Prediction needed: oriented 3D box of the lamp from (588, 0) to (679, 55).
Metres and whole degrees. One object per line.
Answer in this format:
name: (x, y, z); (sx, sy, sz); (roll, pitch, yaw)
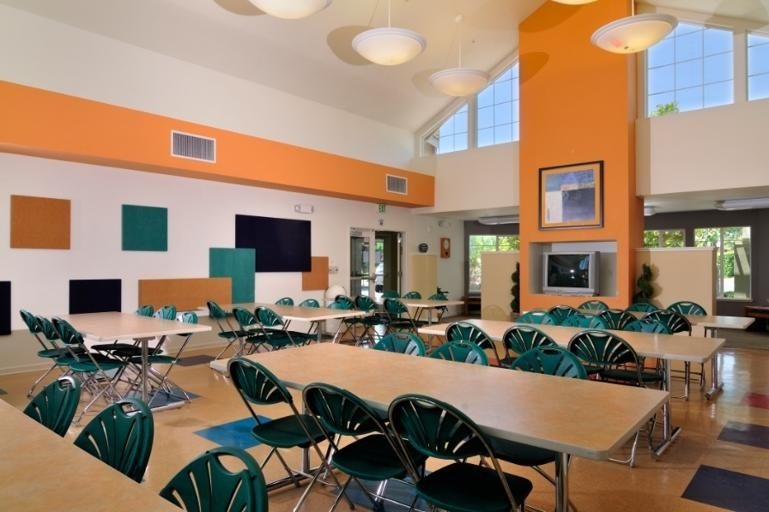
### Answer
lamp: (3.298, -2.919, 6.738); (0.775, 0.176, 0.744); (-4, -6, 0)

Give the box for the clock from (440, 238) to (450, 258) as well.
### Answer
clock: (1.753, -0.240, 15.038); (0.059, 0.569, 0.592); (-2, -3, 36)

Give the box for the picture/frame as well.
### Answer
picture/frame: (3.669, -1.169, 10.063); (1.192, 1.202, 0.253); (-2, -3, 24)

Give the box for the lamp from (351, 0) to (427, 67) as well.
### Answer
lamp: (0.061, -2.890, 6.763); (0.734, 0.837, 0.738); (-2, -5, 25)

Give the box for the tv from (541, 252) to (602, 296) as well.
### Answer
tv: (3.828, 0.395, 10.521); (1.374, 1.147, 0.763); (-3, -6, 43)
